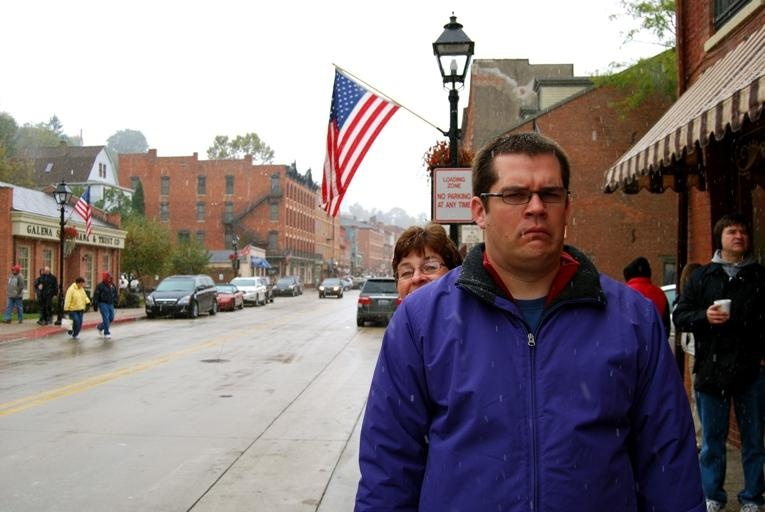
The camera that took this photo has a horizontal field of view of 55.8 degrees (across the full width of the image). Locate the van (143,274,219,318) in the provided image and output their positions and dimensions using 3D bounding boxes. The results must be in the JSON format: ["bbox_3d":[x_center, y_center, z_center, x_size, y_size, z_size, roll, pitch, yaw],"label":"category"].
[{"bbox_3d":[-8.068,1.606,29.281,1.751,1.623,3.323,1,1,8],"label":"van"}]

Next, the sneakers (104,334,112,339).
[{"bbox_3d":[-7.632,2.221,20.209,0.097,0.122,0.286,0,-11,-36],"label":"sneakers"}]

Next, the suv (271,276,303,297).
[{"bbox_3d":[-7.402,2.332,56.401,1.636,1.508,2.568,1,1,5],"label":"suv"}]

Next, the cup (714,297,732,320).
[{"bbox_3d":[3.103,0.473,6.586,0.161,0.168,0.120,1,1,10],"label":"cup"}]

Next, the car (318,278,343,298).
[{"bbox_3d":[-3.651,2.317,52.978,1.499,1.265,2.770,1,1,2],"label":"car"}]

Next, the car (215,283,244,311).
[{"bbox_3d":[-7.324,1.986,34.771,1.066,1.256,2.822,0,1,-11],"label":"car"}]
